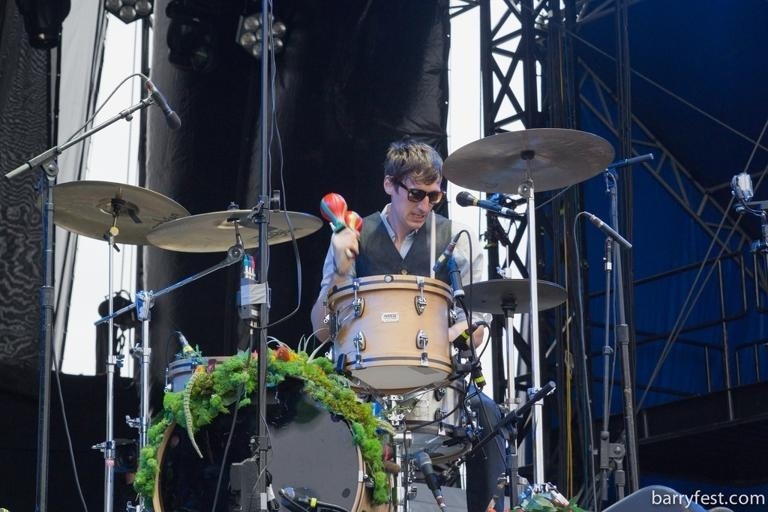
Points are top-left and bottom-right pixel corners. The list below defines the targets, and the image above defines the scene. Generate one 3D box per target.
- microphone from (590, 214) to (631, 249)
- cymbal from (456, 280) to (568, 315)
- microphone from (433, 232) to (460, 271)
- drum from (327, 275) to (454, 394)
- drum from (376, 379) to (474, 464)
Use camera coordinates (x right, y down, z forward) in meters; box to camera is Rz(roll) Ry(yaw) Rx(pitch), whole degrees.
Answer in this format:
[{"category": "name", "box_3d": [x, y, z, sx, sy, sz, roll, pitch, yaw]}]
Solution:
[{"category": "microphone", "box_3d": [2.589, -0.271, 21.393, 0.650, 0.107, 0.109, 35, -60, -14]}, {"category": "cymbal", "box_3d": [1.408, 0.468, 20.615, 1.102, 0.383, 1.107, -1, 2, -33]}, {"category": "microphone", "box_3d": [0.669, -0.012, 20.330, 0.110, 0.421, 0.152, 37, 0, 3]}, {"category": "drum", "box_3d": [0.079, 0.803, 19.821, 1.175, 0.748, 1.174, -1, -27, 0]}, {"category": "drum", "box_3d": [0.472, 1.739, 20.152, 0.895, 0.832, 0.865, -11, -21, 34]}]
